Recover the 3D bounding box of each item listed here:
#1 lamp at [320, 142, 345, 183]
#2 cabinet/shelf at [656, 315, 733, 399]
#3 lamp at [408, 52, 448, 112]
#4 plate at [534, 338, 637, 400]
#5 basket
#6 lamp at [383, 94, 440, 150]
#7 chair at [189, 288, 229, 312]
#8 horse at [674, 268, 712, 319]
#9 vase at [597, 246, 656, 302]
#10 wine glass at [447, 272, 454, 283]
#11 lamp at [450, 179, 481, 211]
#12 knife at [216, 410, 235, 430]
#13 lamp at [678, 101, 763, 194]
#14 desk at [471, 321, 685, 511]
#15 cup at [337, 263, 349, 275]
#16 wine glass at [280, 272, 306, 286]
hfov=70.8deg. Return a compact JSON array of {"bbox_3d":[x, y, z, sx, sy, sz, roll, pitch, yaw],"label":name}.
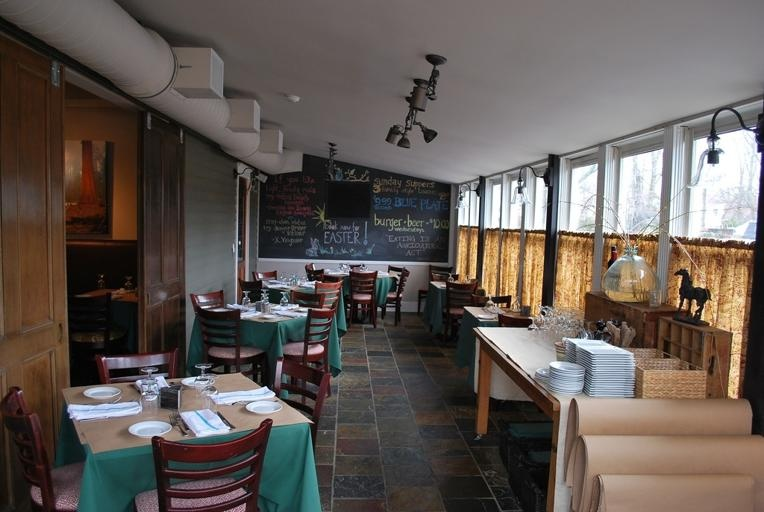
[{"bbox_3d":[-1.059,-1.717,9.975,0.409,0.763,0.415,1,-2,-27],"label":"lamp"},{"bbox_3d":[2.167,0.696,3.721,0.224,0.539,0.580,3,-4,-2],"label":"cabinet/shelf"},{"bbox_3d":[0.387,-1.436,4.489,0.294,0.408,0.492,-1,9,-16],"label":"lamp"},{"bbox_3d":[1.403,0.756,3.671,0.472,0.172,0.382,1,1,1],"label":"plate"},{"bbox_3d":[1.974,0.802,3.703,0.529,0.205,0.512,3,9,8],"label":"basket"},{"bbox_3d":[0.242,-1.310,5.280,0.630,0.581,0.380,6,7,-1],"label":"lamp"},{"bbox_3d":[-1.950,0.447,5.980,0.262,0.409,0.280,-1,1,-39],"label":"chair"},{"bbox_3d":[2.281,0.268,3.957,0.223,0.359,0.369,5,10,22],"label":"horse"},{"bbox_3d":[1.929,0.141,4.298,0.427,0.436,0.413,3,-3,-35],"label":"vase"},{"bbox_3d":[1.100,0.326,8.749,0.108,0.199,0.110,5,7,35],"label":"wine glass"},{"bbox_3d":[1.453,-1.160,9.716,0.605,0.418,0.320,2,-1,-34],"label":"lamp"},{"bbox_3d":[-0.996,1.021,3.430,0.059,0.020,0.229,-3,17,-36],"label":"knife"},{"bbox_3d":[2.536,-0.811,3.968,0.393,0.599,0.797,7,10,29],"label":"lamp"},{"bbox_3d":[1.256,1.377,4.015,0.872,0.812,1.682,2,2,4],"label":"desk"},{"bbox_3d":[-0.679,0.203,9.425,0.203,0.086,0.205,2,6,0],"label":"cup"},{"bbox_3d":[-1.364,0.344,8.053,0.357,0.124,0.369,1,3,-19],"label":"wine glass"}]
